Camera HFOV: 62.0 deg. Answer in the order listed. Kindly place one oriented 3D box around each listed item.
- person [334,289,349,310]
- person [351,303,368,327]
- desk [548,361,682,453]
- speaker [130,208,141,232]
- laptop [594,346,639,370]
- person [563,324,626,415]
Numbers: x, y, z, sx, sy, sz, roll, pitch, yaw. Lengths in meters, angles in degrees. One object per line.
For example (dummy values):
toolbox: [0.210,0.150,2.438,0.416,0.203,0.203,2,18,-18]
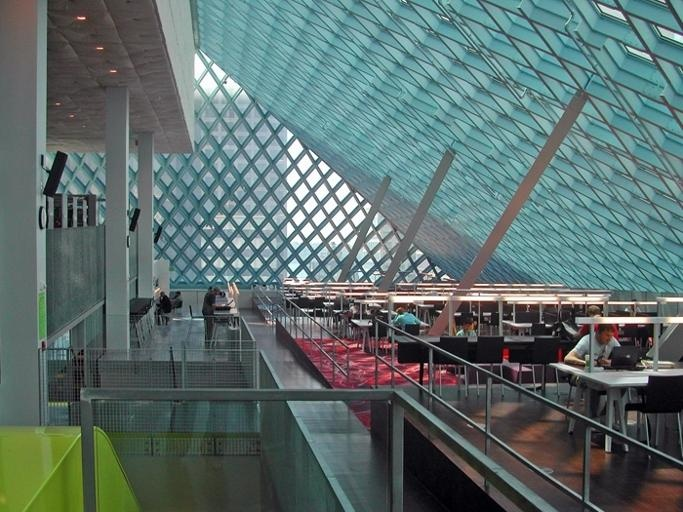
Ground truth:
person: [0.019,1.815,23.096,0.641,0.822,0.621,2,2,2]
person: [0.483,1.997,19.543,0.491,0.847,0.549,1,-5,-10]
desk: [3.956,1.896,8.565,1.799,1.089,1.816,-1,0,-21]
speaker: [-8.215,-1.444,22.700,0.373,0.947,3.176,0,1,-19]
laptop: [4.485,1.607,9.092,0.523,0.372,0.374,-1,7,-8]
person: [4.214,1.949,9.357,1.030,1.613,0.881,7,-4,-4]
